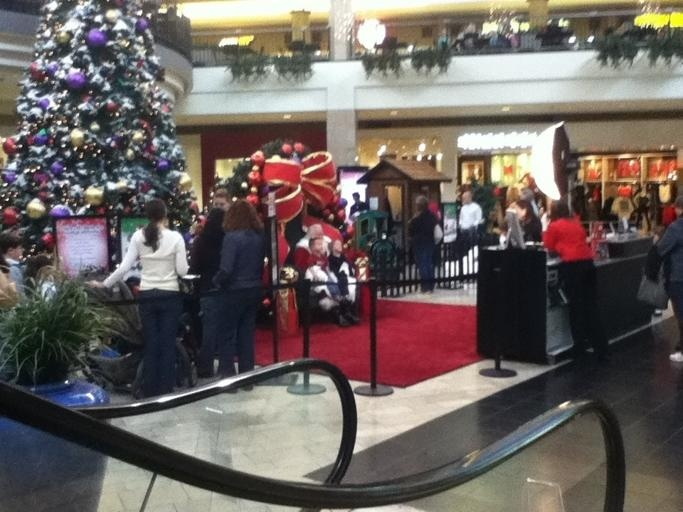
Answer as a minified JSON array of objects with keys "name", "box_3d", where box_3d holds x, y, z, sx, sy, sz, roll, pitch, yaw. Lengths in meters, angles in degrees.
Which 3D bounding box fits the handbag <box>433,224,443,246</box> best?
[{"name":"handbag","box_3d":[1.590,-0.369,11.452,0.199,0.274,0.296,-3,24,1]}]
